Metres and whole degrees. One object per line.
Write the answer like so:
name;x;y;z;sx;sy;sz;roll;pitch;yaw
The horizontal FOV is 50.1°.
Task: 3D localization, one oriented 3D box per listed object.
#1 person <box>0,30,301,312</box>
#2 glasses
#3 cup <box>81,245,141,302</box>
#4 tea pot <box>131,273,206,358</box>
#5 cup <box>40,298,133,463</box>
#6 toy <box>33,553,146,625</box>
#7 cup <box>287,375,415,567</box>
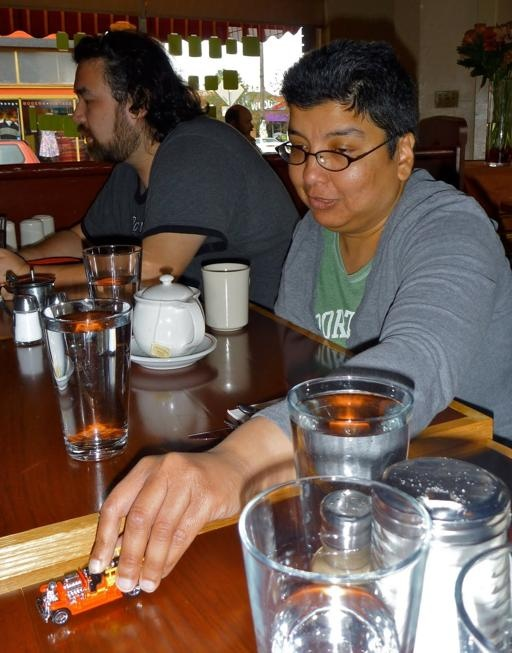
person;-0.189;-0.617;2.299;1.310;1.105;0.923;-4;12;-12
glasses;0.143;-0.368;1.189;0.165;0.041;0.162;18;36;39
cup;-0.347;-0.118;1.315;0.111;0.162;0.113;4;29;-2
tea pot;-0.165;-0.015;1.051;0.134;0.152;0.166;-4;19;-32
cup;-0.209;0.061;0.724;0.106;0.182;0.184;-9;14;-17
toy;-0.139;0.219;0.465;0.086;0.031;0.044;-10;1;-26
cup;0.073;0.115;0.495;0.098;0.099;0.100;-3;20;1
